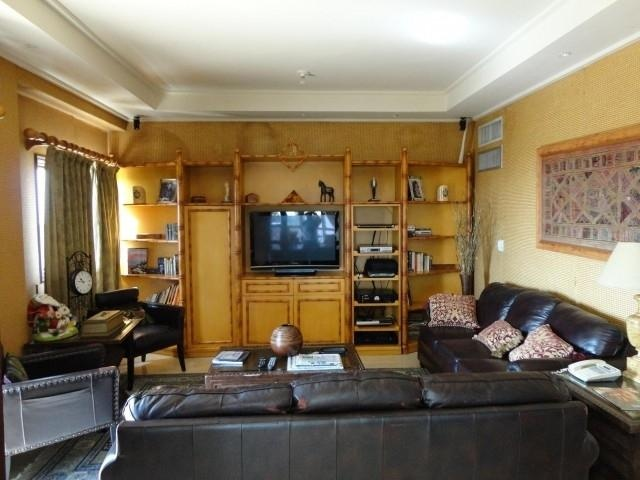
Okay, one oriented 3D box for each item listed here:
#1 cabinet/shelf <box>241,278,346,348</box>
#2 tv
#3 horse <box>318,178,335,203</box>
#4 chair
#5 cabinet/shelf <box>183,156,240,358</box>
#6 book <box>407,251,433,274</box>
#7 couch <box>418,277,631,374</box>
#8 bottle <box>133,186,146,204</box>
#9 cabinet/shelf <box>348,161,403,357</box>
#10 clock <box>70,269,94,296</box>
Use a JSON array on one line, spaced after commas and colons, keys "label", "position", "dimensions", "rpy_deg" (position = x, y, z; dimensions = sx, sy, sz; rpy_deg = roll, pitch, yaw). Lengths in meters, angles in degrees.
[{"label": "cabinet/shelf", "position": [-0.363, 0.812, 5.734], "dimensions": [0.938, 0.754, 0.306], "rpy_deg": [0, -1, 0]}, {"label": "tv", "position": [-0.308, 0.011, 6.096], "dimensions": [1.035, 0.634, 0.098], "rpy_deg": [0, -1, 0]}, {"label": "horse", "position": [0.070, -0.625, 6.174], "dimensions": [0.206, 0.256, 0.265], "rpy_deg": [-1, 0, 0]}, {"label": "chair", "position": [-2.020, 1.424, 5.305], "dimensions": [0.918, 1.028, 1.896], "rpy_deg": [0, 3, 4]}, {"label": "cabinet/shelf", "position": [-1.311, 0.178, 6.024], "dimensions": [0.711, 2.372, 0.505], "rpy_deg": [-2, 0, -8]}, {"label": "book", "position": [1.177, 0.275, 6.112], "dimensions": [0.354, 0.301, 0.241], "rpy_deg": [0, -2, -5]}, {"label": "couch", "position": [1.843, 0.776, 4.410], "dimensions": [0.622, 0.548, 1.211], "rpy_deg": [2, -2, -4]}, {"label": "bottle", "position": [-2.240, -0.563, 6.115], "dimensions": [0.148, 0.227, 0.189], "rpy_deg": [-1, 0, -20]}, {"label": "cabinet/shelf", "position": [0.705, 0.201, 6.079], "dimensions": [0.723, 2.048, 0.586], "rpy_deg": [-1, 0, 4]}, {"label": "clock", "position": [-2.451, 0.424, 5.057], "dimensions": [0.104, 0.277, 0.299], "rpy_deg": [-3, -4, 15]}]
